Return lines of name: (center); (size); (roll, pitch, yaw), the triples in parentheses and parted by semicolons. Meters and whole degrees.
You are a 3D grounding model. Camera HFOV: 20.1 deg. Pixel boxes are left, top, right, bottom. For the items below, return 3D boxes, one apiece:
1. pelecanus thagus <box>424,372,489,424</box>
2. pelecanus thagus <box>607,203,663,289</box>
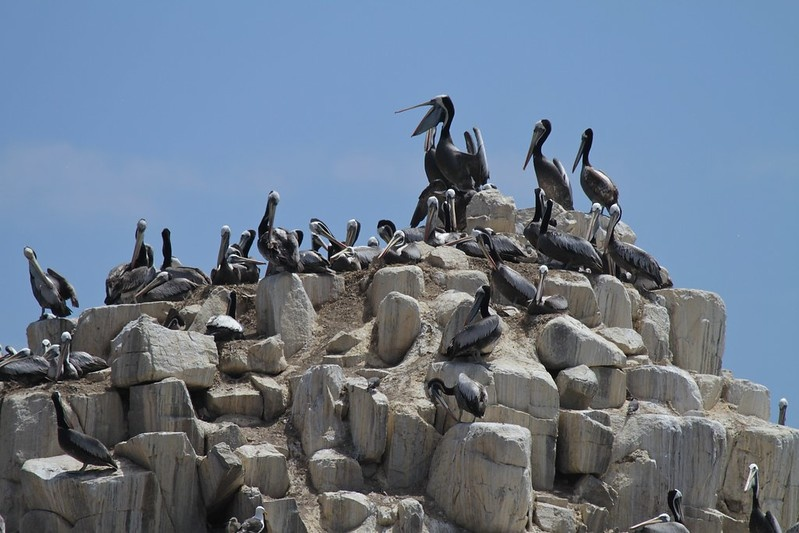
pelecanus thagus: (1.416, 2.959, 50.825); (0.699, 1.010, 1.433); (5, -8, -40)
pelecanus thagus: (5.984, -0.374, 57.346); (1.441, 2.143, 1.782); (0, -6, 5)
